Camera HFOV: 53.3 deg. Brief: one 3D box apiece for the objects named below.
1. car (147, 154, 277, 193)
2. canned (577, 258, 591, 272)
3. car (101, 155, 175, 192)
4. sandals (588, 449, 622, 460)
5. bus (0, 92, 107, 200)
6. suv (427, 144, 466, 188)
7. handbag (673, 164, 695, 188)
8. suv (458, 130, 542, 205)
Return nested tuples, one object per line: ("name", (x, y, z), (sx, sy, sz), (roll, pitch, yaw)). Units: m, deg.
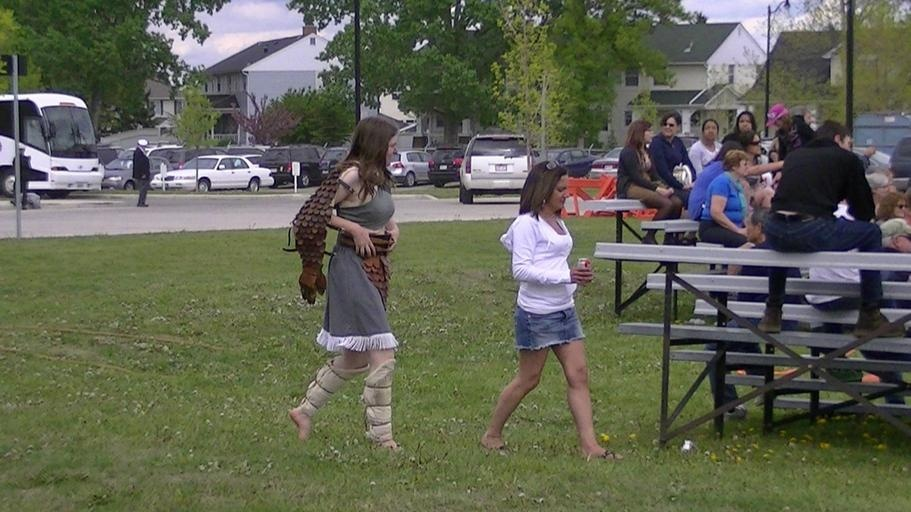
("car", (-11.199, -3.666, 43.086), (2.075, 1.267, 4.647), (2, 2, 43))
("canned", (1.486, 0.091, 10.509), (0.180, 0.172, 0.176), (2, 3, 45))
("car", (-15.509, -3.951, 44.010), (2.073, 1.525, 3.399), (0, 0, 22))
("sandals", (1.745, 2.319, 10.570), (0.423, 0.103, 0.117), (-1, 7, -10))
("bus", (-16.063, -4.351, 35.825), (3.665, 4.164, 3.062), (-2, 7, -22))
("suv", (-0.466, -4.223, 43.227), (1.367, 1.135, 2.365), (2, 16, 9))
("handbag", (4.313, -1.501, 16.985), (0.472, 0.401, 0.135), (40, -26, -31))
("suv", (1.392, -3.007, 30.213), (1.796, 1.556, 3.299), (1, 13, 1))
